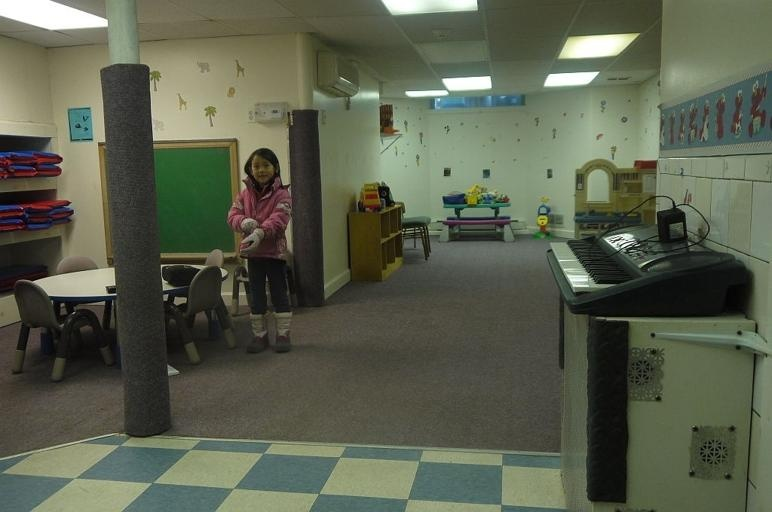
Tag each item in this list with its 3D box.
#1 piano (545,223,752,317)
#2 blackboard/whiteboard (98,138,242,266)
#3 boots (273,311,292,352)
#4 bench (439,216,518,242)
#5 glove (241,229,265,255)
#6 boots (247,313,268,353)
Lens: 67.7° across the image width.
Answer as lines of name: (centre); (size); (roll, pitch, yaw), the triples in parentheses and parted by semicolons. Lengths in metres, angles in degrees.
piano: (1.139, 0.074, 2.691); (0.727, 0.258, 0.830); (-1, 12, 3)
blackboard/whiteboard: (-1.934, -0.553, 5.414); (1.615, 1.385, 0.155); (0, 18, 4)
boots: (-0.933, 0.694, 5.211); (0.155, 0.326, 0.359); (2, 13, -14)
bench: (1.906, -0.598, 11.742); (1.408, 0.467, 1.343); (1, 12, 12)
glove: (-1.116, -0.112, 4.904); (0.131, 0.229, 0.244); (7, 15, 34)
boots: (-1.166, 0.705, 5.226); (0.166, 0.328, 0.356); (-1, 11, 7)
